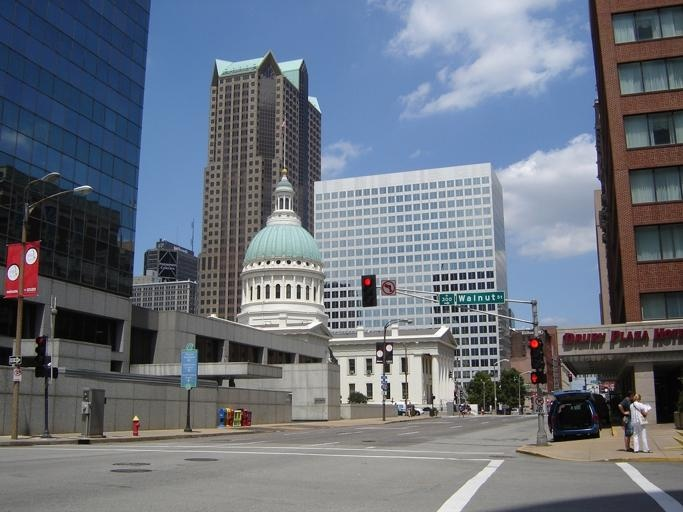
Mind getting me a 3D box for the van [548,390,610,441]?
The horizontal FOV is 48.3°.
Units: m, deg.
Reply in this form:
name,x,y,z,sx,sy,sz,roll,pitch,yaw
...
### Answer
name,x,y,z,sx,sy,sz,roll,pitch,yaw
van,11.998,8.117,39.259,2.300,2.441,1.462,-5,-13,8
